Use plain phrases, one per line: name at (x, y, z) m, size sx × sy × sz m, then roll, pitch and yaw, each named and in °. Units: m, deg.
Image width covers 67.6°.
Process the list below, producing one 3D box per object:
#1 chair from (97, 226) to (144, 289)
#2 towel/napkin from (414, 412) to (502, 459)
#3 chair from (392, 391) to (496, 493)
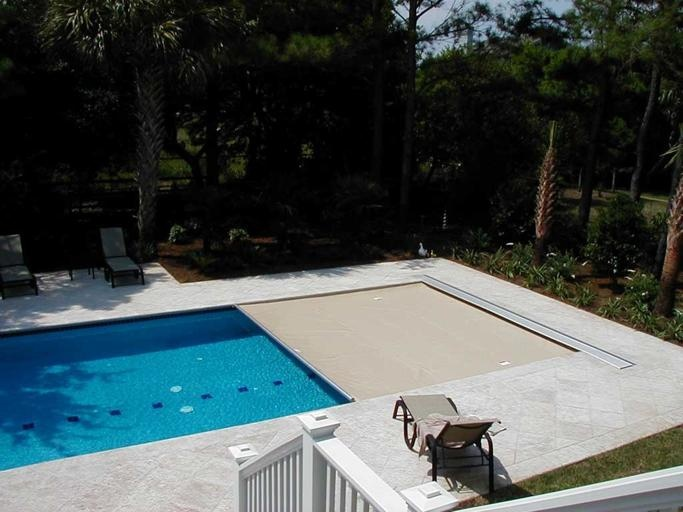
chair at (-6.150, -0.029, 13.937) m, size 0.853 × 1.566 × 2.304 m, roll -8°, pitch 19°, yaw -27°
towel/napkin at (1.346, 2.085, 6.430) m, size 0.540 × 0.472 × 0.872 m, roll -4°, pitch 10°, yaw -12°
chair at (1.357, 2.217, 6.904) m, size 0.851 × 0.957 × 2.327 m, roll -1°, pitch 6°, yaw -3°
